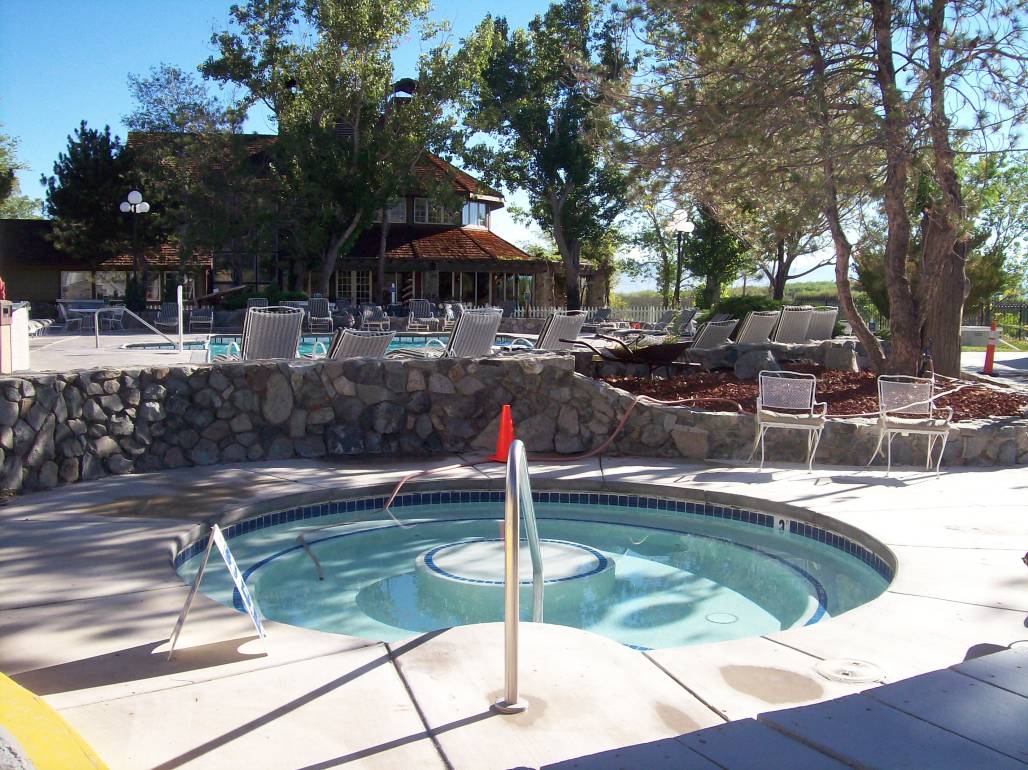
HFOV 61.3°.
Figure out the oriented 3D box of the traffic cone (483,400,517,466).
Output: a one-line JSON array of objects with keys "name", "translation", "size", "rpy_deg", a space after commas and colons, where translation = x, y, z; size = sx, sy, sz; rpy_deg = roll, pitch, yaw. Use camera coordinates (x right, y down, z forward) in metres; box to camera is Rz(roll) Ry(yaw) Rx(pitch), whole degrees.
[{"name": "traffic cone", "translation": [-0.057, 0.612, 9.897], "size": [0.520, 0.655, 0.571], "rpy_deg": [-2, -27, -1]}]
